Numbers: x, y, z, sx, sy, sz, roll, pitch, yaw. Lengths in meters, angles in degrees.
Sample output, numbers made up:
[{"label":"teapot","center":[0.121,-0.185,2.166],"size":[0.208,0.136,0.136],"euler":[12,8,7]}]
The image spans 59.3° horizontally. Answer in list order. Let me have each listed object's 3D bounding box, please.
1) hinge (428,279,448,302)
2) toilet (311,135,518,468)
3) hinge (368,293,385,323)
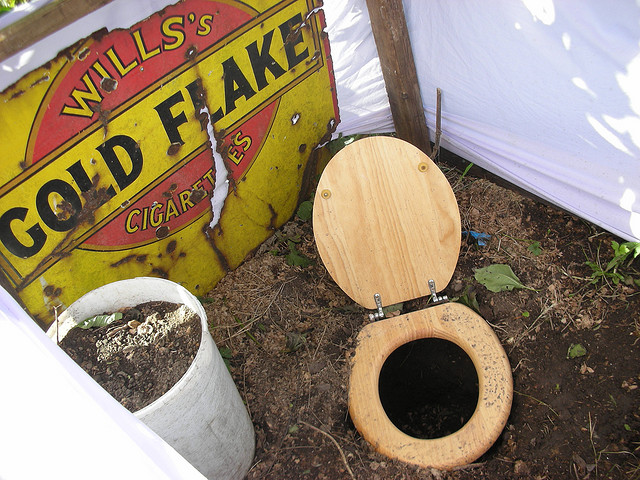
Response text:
[{"label":"hinge","center":[0.511,0.221,2.451],"size":[0.066,0.145,0.068],"euler":[-18,63,5]},{"label":"toilet","center":[0.414,0.392,2.440],"size":[0.617,1.372,1.162],"euler":[-15,52,5]},{"label":"hinge","center":[0.245,0.310,2.469],"size":[0.068,0.190,0.087],"euler":[-8,64,10]}]
